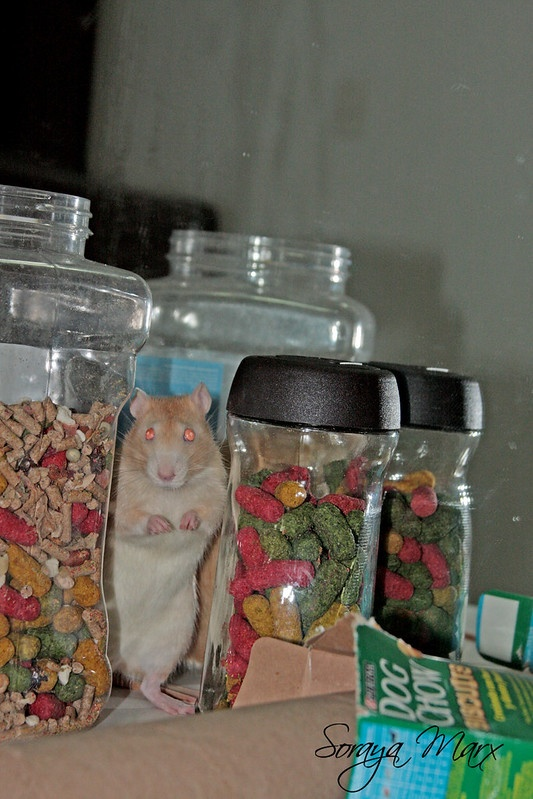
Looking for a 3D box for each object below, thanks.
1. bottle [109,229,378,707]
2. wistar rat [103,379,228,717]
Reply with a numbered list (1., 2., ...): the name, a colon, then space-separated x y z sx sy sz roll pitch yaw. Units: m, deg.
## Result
1. bottle: -0.017 0.020 1.019 0.368 0.613 0.365 3 0 0
2. wistar rat: -0.091 0.053 0.698 0.108 0.147 0.267 -1 6 -12
